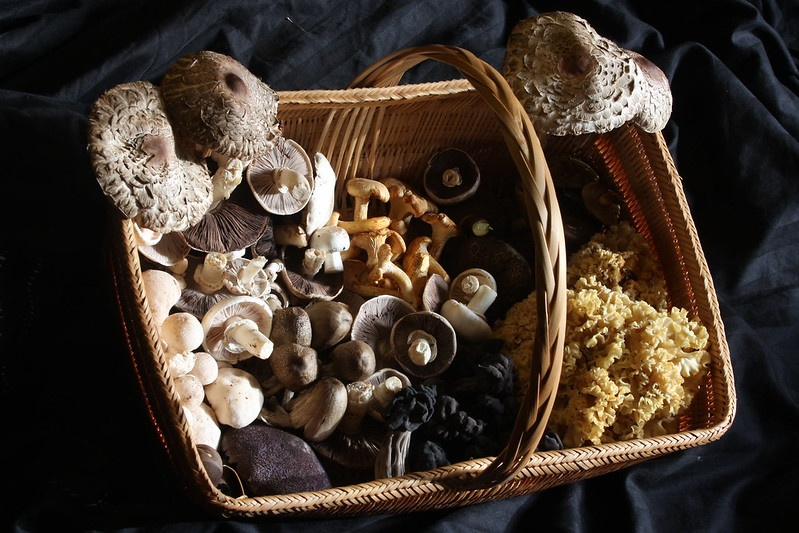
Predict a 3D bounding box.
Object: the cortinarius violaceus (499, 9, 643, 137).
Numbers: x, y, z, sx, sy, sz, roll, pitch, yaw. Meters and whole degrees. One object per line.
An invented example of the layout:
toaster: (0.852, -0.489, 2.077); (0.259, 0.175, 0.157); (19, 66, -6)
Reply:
cortinarius violaceus: (0.660, -0.763, 3.083); (0.461, 0.188, 0.522); (-9, 68, -14)

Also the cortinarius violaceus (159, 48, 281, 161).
cortinarius violaceus: (-0.654, -0.573, 2.798); (0.390, 0.145, 0.407); (19, 50, -30)
